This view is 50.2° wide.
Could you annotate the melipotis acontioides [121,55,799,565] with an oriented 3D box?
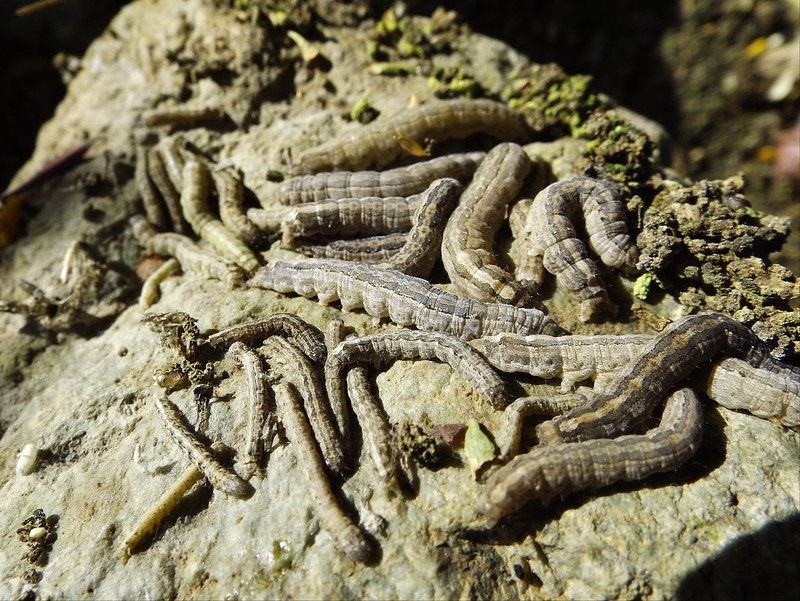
[{"bbox_3d":[0.996,0.259,11.771,7.742,0.753,5.400,-15,62,-8],"label":"melipotis acontioides"}]
